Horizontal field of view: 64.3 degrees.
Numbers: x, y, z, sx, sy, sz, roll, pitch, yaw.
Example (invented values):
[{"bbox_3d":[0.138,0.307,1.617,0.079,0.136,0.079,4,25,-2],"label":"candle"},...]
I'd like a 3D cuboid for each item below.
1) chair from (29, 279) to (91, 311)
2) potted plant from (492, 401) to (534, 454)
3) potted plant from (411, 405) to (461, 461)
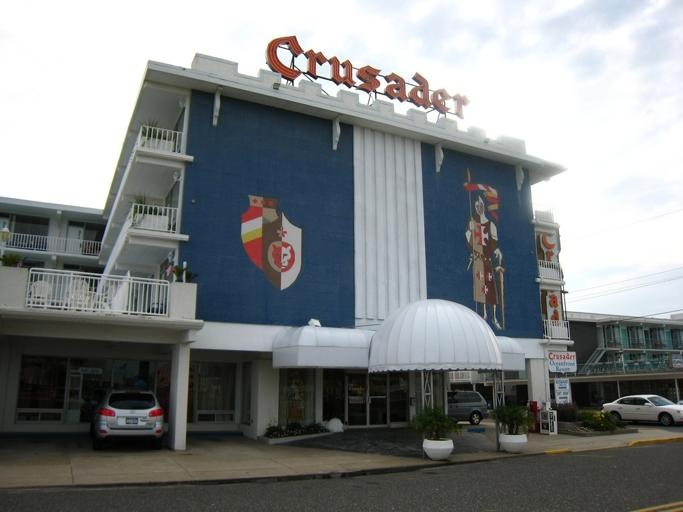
[{"bbox_3d":[-10.015,1.391,19.559,1.912,1.256,1.719,4,-14,-16],"label":"chair"},{"bbox_3d":[6.605,6.740,21.338,1.562,1.971,1.588,1,-16,-3],"label":"potted plant"},{"bbox_3d":[3.380,6.371,19.529,1.403,1.808,0.772,-2,-13,9],"label":"potted plant"}]
